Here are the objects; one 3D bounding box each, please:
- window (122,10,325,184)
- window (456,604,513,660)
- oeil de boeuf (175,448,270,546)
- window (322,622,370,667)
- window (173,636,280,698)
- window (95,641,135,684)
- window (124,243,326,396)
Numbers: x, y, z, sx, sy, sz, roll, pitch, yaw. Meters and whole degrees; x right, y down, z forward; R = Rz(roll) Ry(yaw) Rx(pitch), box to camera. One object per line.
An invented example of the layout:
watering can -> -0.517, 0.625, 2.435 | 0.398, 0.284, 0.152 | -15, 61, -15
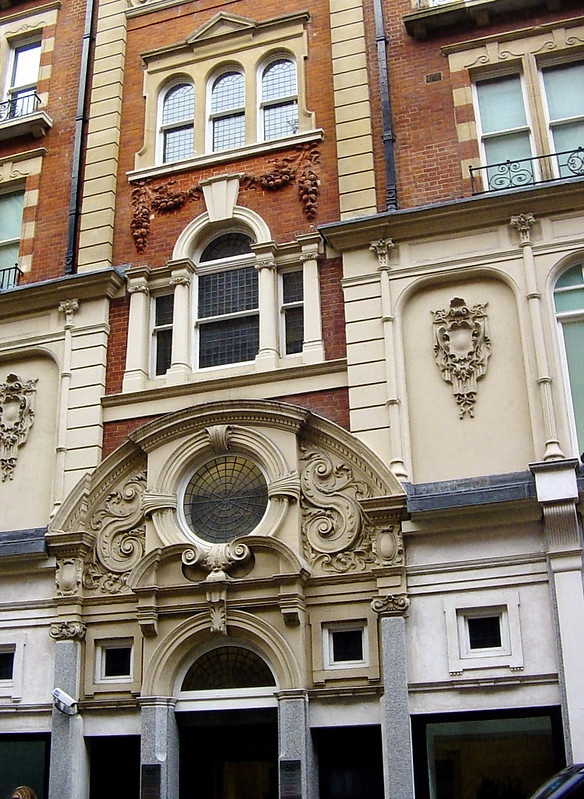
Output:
window -> -1.035, -5.069, 17.711 | 3.394, 2.802, 0.413 | -10, -26, 18
window -> 2.391, 2.874, 12.836 | 0.647, 0.622, 0.086 | -7, -25, 6
oeil de boeuf -> -0.938, 1.407, 14.694 | 1.253, 1.218, 0.048 | -21, -42, 6
window -> 0.716, 3.162, 13.424 | 0.612, 0.616, 0.058 | -4, -32, 10
window -> -0.832, 3.564, 13.862 | 1.047, 0.587, 0.073 | -11, -40, 16
window -> -2.434, 3.662, 14.455 | 0.550, 0.528, 0.165 | -5, -15, 16
window -> -0.957, -1.508, 16.460 | 3.270, 2.776, 0.408 | -9, -25, 18
